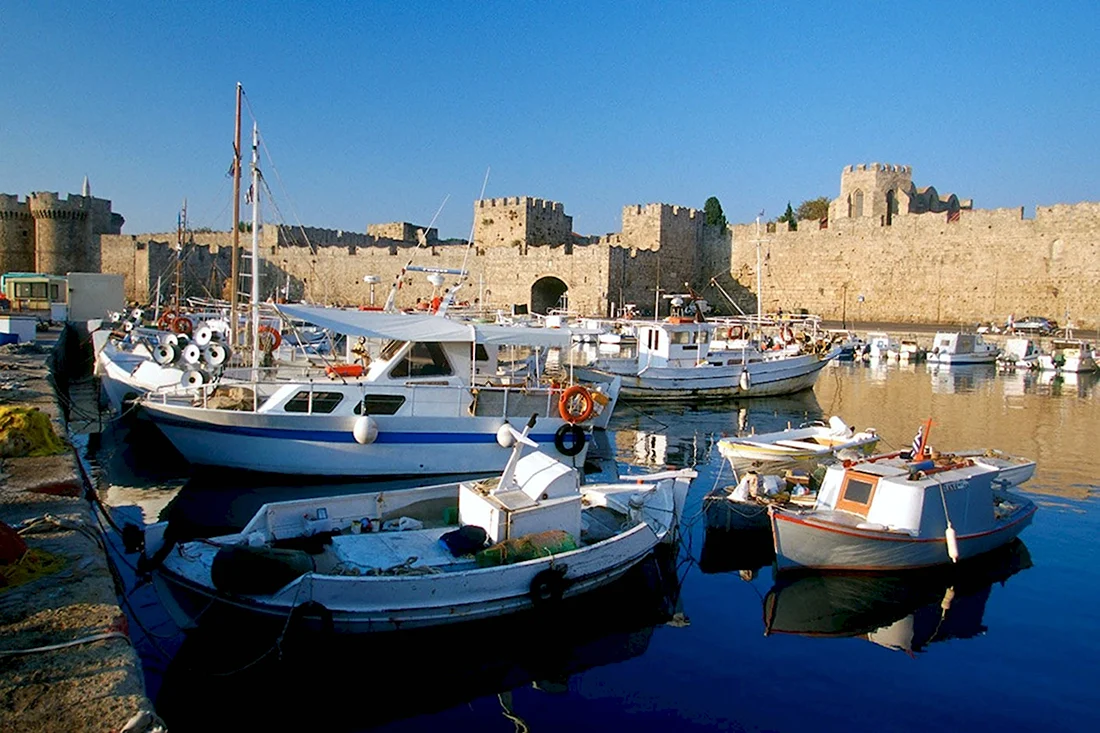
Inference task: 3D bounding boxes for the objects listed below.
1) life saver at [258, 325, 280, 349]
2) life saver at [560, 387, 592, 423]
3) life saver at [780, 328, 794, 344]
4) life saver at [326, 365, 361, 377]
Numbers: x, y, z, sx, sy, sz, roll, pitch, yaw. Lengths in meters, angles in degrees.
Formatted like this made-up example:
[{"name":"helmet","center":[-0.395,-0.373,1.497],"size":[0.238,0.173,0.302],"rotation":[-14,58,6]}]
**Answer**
[{"name":"life saver","center":[-6.470,-0.689,23.604],"size":[0.552,0.554,0.200],"rotation":[24,30,34]},{"name":"life saver","center":[0.433,0.682,17.992],"size":[0.611,0.670,0.391],"rotation":[-1,6,-5]},{"name":"life saver","center":[7.207,-0.946,31.381],"size":[0.375,0.520,0.214],"rotation":[19,-23,-25]},{"name":"life saver","center":[-3.656,0.067,18.334],"size":[0.607,0.161,0.762],"rotation":[-2,7,-17]}]
